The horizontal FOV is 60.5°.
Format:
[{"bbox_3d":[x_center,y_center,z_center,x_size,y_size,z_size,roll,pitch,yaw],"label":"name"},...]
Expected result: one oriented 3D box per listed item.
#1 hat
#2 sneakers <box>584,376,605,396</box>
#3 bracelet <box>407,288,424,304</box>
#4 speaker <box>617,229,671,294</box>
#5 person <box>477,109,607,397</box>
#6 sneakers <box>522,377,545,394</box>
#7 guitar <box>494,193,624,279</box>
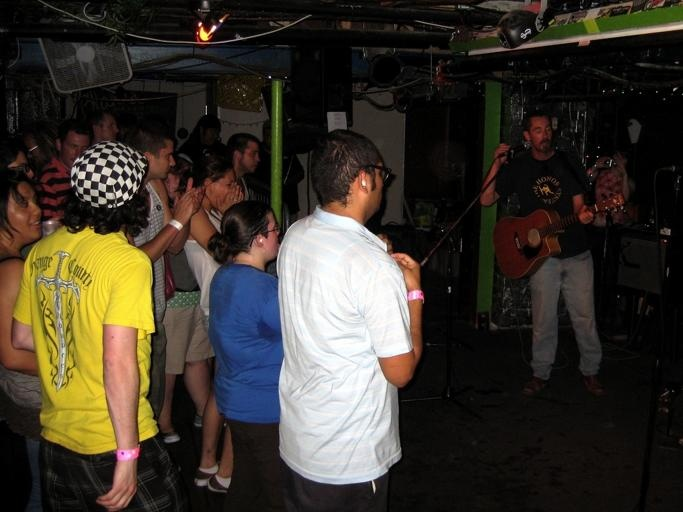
[{"bbox_3d":[-1.019,-0.339,2.568,0.240,0.329,0.159,8,-30,1],"label":"hat"},{"bbox_3d":[2.270,1.137,5.164,0.093,0.104,0.260,-3,6,2],"label":"sneakers"},{"bbox_3d":[0.336,0.181,2.610,0.057,0.049,0.059,-2,1,39],"label":"bracelet"},{"bbox_3d":[3.008,0.047,5.719,0.418,0.551,0.564,-6,9,-28],"label":"speaker"},{"bbox_3d":[1.808,-0.006,5.054,1.063,2.419,0.616,6,12,25],"label":"person"},{"bbox_3d":[1.723,1.148,5.202,0.099,0.097,0.260,-3,-6,42],"label":"sneakers"},{"bbox_3d":[1.852,-0.199,5.160,1.057,0.528,0.136,-23,28,-2],"label":"guitar"}]
